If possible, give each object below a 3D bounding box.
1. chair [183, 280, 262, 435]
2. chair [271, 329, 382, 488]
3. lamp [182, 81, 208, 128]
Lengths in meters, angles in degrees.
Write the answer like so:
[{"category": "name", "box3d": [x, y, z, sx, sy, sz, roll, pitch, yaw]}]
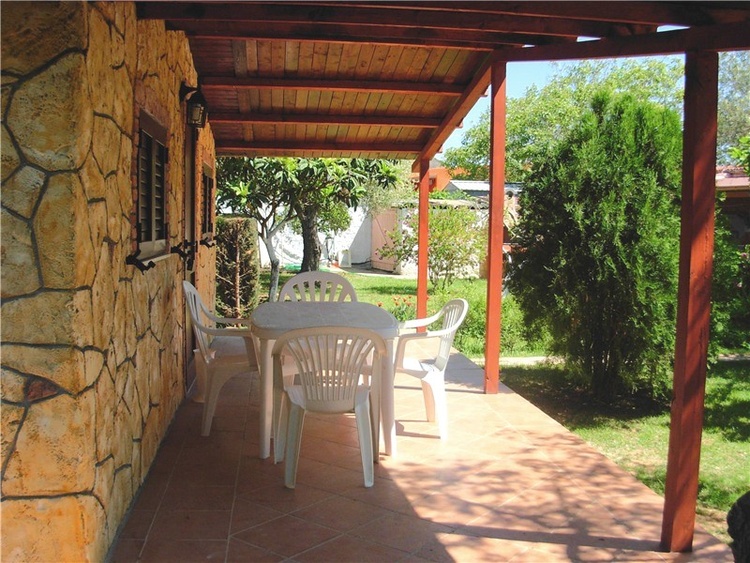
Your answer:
[{"category": "chair", "box3d": [-1.172, 0.617, 4.938, 0.692, 1.103, 0.661, 0, 7, -10]}, {"category": "chair", "box3d": [-0.339, 0.839, 4.297, 0.769, 1.214, 0.838, -2, 11, -14]}, {"category": "lamp", "box3d": [-1.782, -1.715, 5.815, 0.257, 0.491, 0.239, 5, -11, -10]}]
